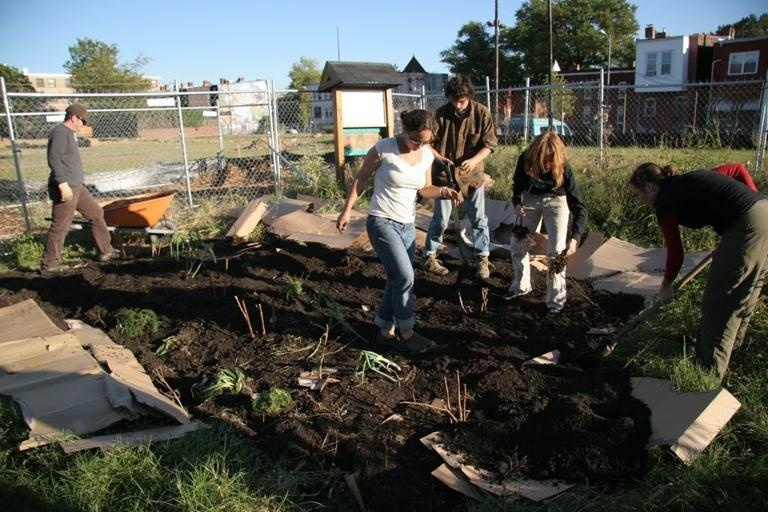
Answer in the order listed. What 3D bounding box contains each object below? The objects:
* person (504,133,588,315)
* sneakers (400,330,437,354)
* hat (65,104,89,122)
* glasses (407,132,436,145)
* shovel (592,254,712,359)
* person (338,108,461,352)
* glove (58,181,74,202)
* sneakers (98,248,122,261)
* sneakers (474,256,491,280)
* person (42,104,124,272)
[{"bbox_3d":[1.893,-0.396,6.431,0.857,2.043,0.456,5,18,21],"label":"person"},{"bbox_3d":[0.376,0.914,5.895,0.387,0.156,0.199,4,19,15],"label":"sneakers"},{"bbox_3d":[-4.535,-2.100,8.177,0.228,0.170,0.305,12,12,28],"label":"hat"},{"bbox_3d":[0.360,-1.164,5.497,0.242,0.157,0.277,0,17,3],"label":"glasses"},{"bbox_3d":[2.713,0.454,5.494,0.264,1.567,0.272,38,23,-14],"label":"shovel"},{"bbox_3d":[0.113,-0.248,5.762,1.035,2.457,0.611,-2,16,-3],"label":"person"},{"bbox_3d":[-4.566,-0.921,7.998,0.177,0.294,0.188,14,23,42],"label":"glove"},{"bbox_3d":[-4.217,0.005,8.547,0.104,0.148,0.273,-21,20,23],"label":"sneakers"},{"bbox_3d":[1.301,0.172,7.219,0.140,0.157,0.380,4,16,5],"label":"sneakers"},{"bbox_3d":[-4.662,-1.013,8.129,1.017,2.302,0.803,-12,20,-32],"label":"person"}]
